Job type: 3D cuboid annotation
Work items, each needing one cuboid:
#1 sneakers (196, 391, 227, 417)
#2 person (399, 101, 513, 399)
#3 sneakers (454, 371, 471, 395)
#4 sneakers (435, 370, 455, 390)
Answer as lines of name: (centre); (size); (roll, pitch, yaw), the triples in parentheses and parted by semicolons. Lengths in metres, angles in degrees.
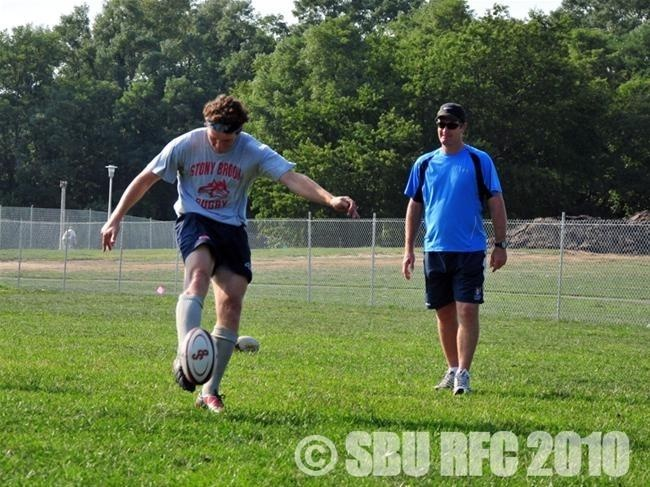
sneakers: (-1.055, 1.505, 7.778); (0.328, 0.171, 0.123); (4, 1, 42)
person: (1.377, -0.001, 9.135); (1.046, 3.136, 0.742); (-1, -1, 43)
sneakers: (1.434, 1.456, 8.768); (0.186, 0.226, 0.330); (0, 0, 10)
sneakers: (1.290, 1.469, 8.968); (0.216, 0.176, 0.321); (0, 0, 9)
